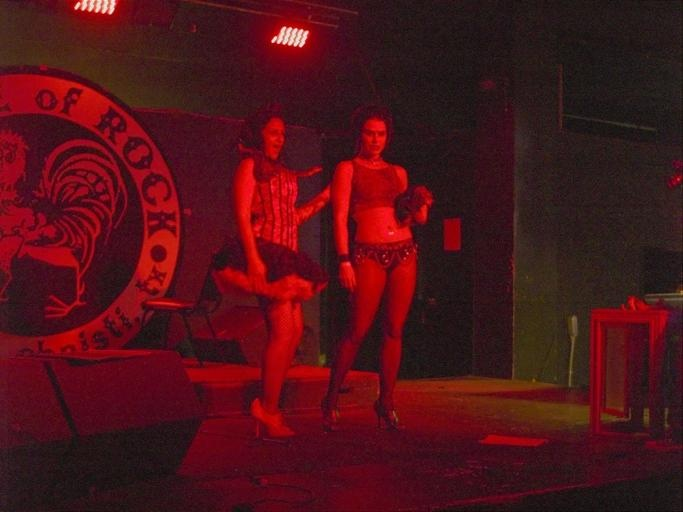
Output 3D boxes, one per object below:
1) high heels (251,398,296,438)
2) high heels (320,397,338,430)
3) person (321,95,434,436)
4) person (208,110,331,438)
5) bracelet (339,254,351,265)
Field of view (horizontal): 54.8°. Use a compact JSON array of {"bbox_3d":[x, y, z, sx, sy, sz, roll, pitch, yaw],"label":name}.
[{"bbox_3d":[-0.337,0.799,3.141,0.225,0.090,0.125,34,20,5],"label":"high heels"},{"bbox_3d":[-0.060,0.788,3.286,0.085,0.170,0.108,1,0,20],"label":"high heels"},{"bbox_3d":[0.180,0.050,3.293,0.494,1.579,0.415,3,10,-2],"label":"person"},{"bbox_3d":[-0.316,0.065,3.248,0.478,1.511,0.506,9,11,27],"label":"person"},{"bbox_3d":[0.030,0.012,3.234,0.068,0.045,0.041,-3,12,-32],"label":"bracelet"}]
